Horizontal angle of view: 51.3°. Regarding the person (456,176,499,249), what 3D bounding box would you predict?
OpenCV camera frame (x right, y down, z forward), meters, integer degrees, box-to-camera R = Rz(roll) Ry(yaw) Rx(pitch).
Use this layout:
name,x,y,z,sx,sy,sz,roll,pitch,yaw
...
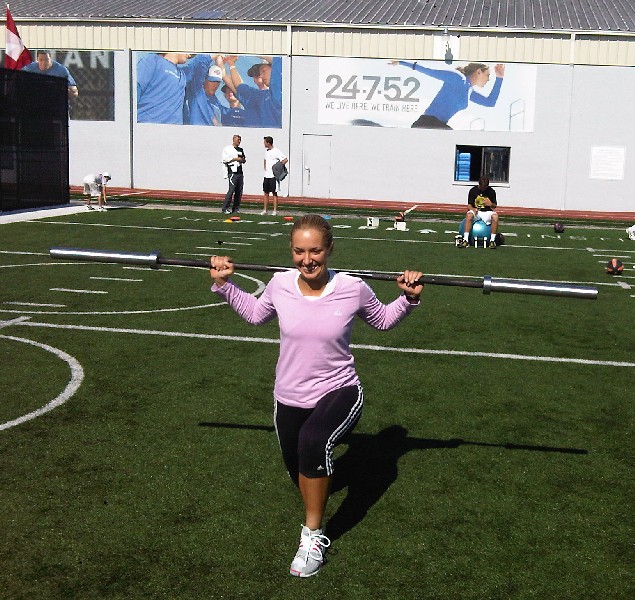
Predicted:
name,x,y,z,sx,sy,sz,roll,pitch,yaw
person,3.723,-2.008,15.323,0.911,1.642,1.057,5,12,14

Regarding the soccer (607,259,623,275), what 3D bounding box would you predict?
name,x,y,z,sx,sy,sz,roll,pitch,yaw
soccer,5.500,-0.604,12.279,0.289,0.278,0.399,7,13,22

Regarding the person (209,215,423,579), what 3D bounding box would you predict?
name,x,y,z,sx,sy,sz,roll,pitch,yaw
person,0.013,0.377,3.344,0.809,1.610,0.806,-8,15,-37

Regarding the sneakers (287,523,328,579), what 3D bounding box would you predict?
name,x,y,z,sx,sy,sz,roll,pitch,yaw
sneakers,-0.029,1.139,3.088,0.117,0.145,0.333,1,18,24

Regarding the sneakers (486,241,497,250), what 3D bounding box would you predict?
name,x,y,z,sx,sy,sz,roll,pitch,yaw
sneakers,4.061,-1.270,15.493,0.129,0.182,0.198,0,4,2
